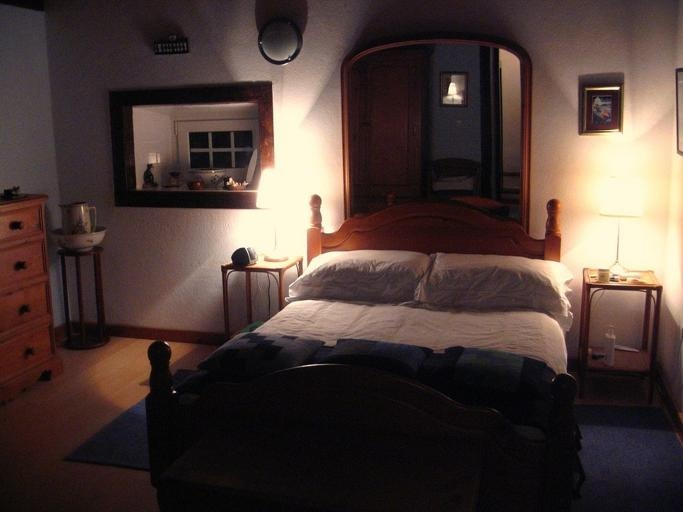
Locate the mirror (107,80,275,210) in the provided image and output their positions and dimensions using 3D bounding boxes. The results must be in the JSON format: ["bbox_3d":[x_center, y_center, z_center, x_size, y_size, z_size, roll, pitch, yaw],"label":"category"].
[{"bbox_3d":[-1.196,-0.918,4.396,1.072,0.766,0.082,1,12,12],"label":"mirror"}]

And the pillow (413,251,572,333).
[{"bbox_3d":[0.990,0.190,3.457,0.634,0.174,0.641,3,14,12],"label":"pillow"}]

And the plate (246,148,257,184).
[{"bbox_3d":[-0.726,-0.708,4.380,0.069,0.304,0.029,17,9,13],"label":"plate"}]

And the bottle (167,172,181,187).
[{"bbox_3d":[-1.409,-0.632,4.537,0.122,0.135,0.122,1,11,2],"label":"bottle"}]

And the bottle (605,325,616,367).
[{"bbox_3d":[1.848,0.610,3.683,0.070,0.242,0.210,5,12,27],"label":"bottle"}]

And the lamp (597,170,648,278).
[{"bbox_3d":[1.908,-0.196,3.687,0.277,0.673,0.314,5,12,27],"label":"lamp"}]

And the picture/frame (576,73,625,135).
[{"bbox_3d":[1.800,-1.045,3.734,0.290,0.405,0.083,1,10,7],"label":"picture/frame"}]

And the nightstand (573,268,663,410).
[{"bbox_3d":[1.940,0.521,3.725,0.528,0.863,0.515,4,11,21],"label":"nightstand"}]

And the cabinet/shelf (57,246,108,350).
[{"bbox_3d":[-2.193,0.341,4.570,0.365,0.849,0.630,-6,12,-26],"label":"cabinet/shelf"}]
